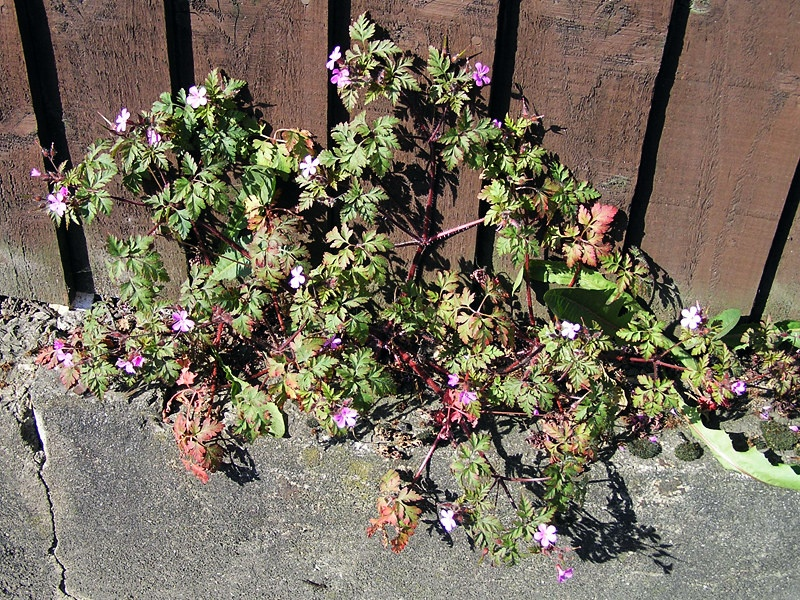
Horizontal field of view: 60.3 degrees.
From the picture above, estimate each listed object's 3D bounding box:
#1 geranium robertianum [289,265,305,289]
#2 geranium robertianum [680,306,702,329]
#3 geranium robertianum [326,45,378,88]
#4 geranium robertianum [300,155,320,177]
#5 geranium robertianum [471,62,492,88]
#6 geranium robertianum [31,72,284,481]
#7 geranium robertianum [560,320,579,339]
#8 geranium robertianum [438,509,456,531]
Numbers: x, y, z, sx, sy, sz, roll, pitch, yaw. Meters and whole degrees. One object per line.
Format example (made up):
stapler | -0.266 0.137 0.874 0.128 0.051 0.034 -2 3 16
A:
geranium robertianum | -0.478 -0.109 3.206 0.075 0.106 0.080 0 31 -10
geranium robertianum | 1.373 0.091 3.243 0.090 0.103 0.087 19 33 21
geranium robertianum | -0.207 -1.082 3.203 0.284 0.179 0.185 12 31 9
geranium robertianum | -0.428 -0.625 3.250 0.090 0.105 0.071 -5 32 -18
geranium robertianum | 0.377 -1.041 3.162 0.090 0.082 0.064 11 31 7
geranium robertianum | -1.041 -0.247 3.604 1.354 1.937 0.455 -12 7 5
geranium robertianum | 0.789 0.136 3.196 0.095 0.069 0.077 17 32 16
geranium robertianum | 0.221 1.013 3.173 0.069 0.099 0.077 3 30 -6
